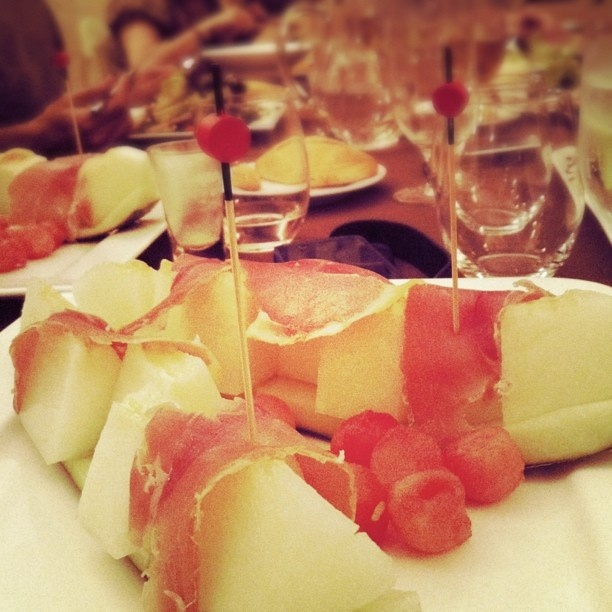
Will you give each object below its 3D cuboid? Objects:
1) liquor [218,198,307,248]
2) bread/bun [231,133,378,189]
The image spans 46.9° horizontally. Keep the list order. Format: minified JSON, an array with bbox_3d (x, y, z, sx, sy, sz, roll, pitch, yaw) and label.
[{"bbox_3d":[-0.036,-0.074,0.619,0.081,0.046,0.073,-2,15,-1],"label":"liquor"},{"bbox_3d":[0.000,-0.144,0.725,0.109,0.030,0.101,-4,15,-23],"label":"bread/bun"}]
